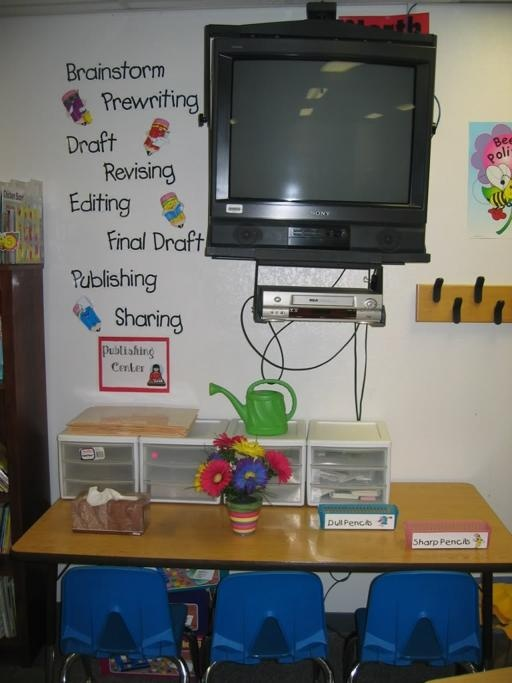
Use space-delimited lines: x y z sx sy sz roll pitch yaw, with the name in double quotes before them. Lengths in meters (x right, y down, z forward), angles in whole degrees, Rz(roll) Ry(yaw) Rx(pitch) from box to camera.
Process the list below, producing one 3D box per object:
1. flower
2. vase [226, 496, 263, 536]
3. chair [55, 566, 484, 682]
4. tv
"flower" -0.052 0.415 1.978 0.233 0.184 0.242 2 10 12
"vase" -0.041 0.559 2.004 0.095 0.095 0.101 2 3 14
"chair" 0.067 0.801 1.767 1.227 0.421 0.285 1 6 2
"tv" 0.183 -0.627 1.858 0.733 0.603 0.431 1 14 1
